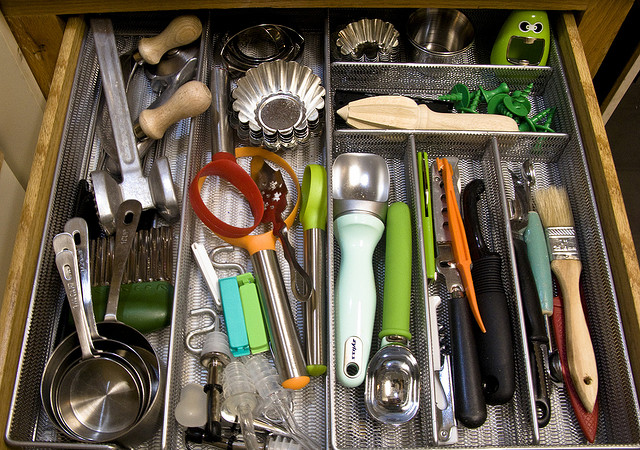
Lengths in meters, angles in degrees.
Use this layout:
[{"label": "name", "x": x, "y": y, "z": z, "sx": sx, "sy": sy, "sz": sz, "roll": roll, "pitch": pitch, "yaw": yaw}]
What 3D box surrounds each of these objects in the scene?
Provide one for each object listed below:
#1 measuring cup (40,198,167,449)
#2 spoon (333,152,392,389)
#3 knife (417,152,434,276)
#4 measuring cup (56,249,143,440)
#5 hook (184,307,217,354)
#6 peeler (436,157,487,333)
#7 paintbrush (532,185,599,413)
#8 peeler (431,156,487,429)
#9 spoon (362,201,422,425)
[{"label": "measuring cup", "x": -0.411, "y": 0.198, "z": 1.113, "sx": 0.216, "sy": 0.140, "sz": 0.494, "roll": 5, "pitch": 79, "yaw": -7}, {"label": "spoon", "x": 0.076, "y": 0.080, "z": 1.197, "sx": 0.125, "sy": 0.126, "sz": 0.481, "roll": 3, "pitch": 77, "yaw": -8}, {"label": "knife", "x": 0.231, "y": -0.052, "z": 1.246, "sx": 0.024, "sy": 0.026, "sz": 0.233, "roll": -3, "pitch": 70, "yaw": 4}, {"label": "measuring cup", "x": -0.448, "y": 0.248, "z": 1.088, "sx": 0.153, "sy": 0.300, "sz": 0.142, "roll": -1, "pitch": 46, "yaw": 1}, {"label": "hook", "x": -0.252, "y": 0.223, "z": 1.171, "sx": 0.058, "sy": 0.016, "sz": 0.089, "roll": 4, "pitch": 57, "yaw": 3}, {"label": "peeler", "x": 0.290, "y": 0.038, "z": 1.230, "sx": 0.044, "sy": 0.045, "sz": 0.392, "roll": 8, "pitch": 64, "yaw": -41}, {"label": "paintbrush", "x": 0.536, "y": 0.148, "z": 1.201, "sx": 0.077, "sy": 0.024, "sz": 0.476, "roll": -6, "pitch": 74, "yaw": 5}, {"label": "peeler", "x": 0.286, "y": 0.137, "z": 1.219, "sx": 0.074, "sy": 0.057, "sz": 0.506, "roll": -4, "pitch": 69, "yaw": -1}, {"label": "spoon", "x": 0.150, "y": 0.166, "z": 1.111, "sx": 0.103, "sy": 0.058, "sz": 0.407, "roll": 2, "pitch": 75, "yaw": 4}]
